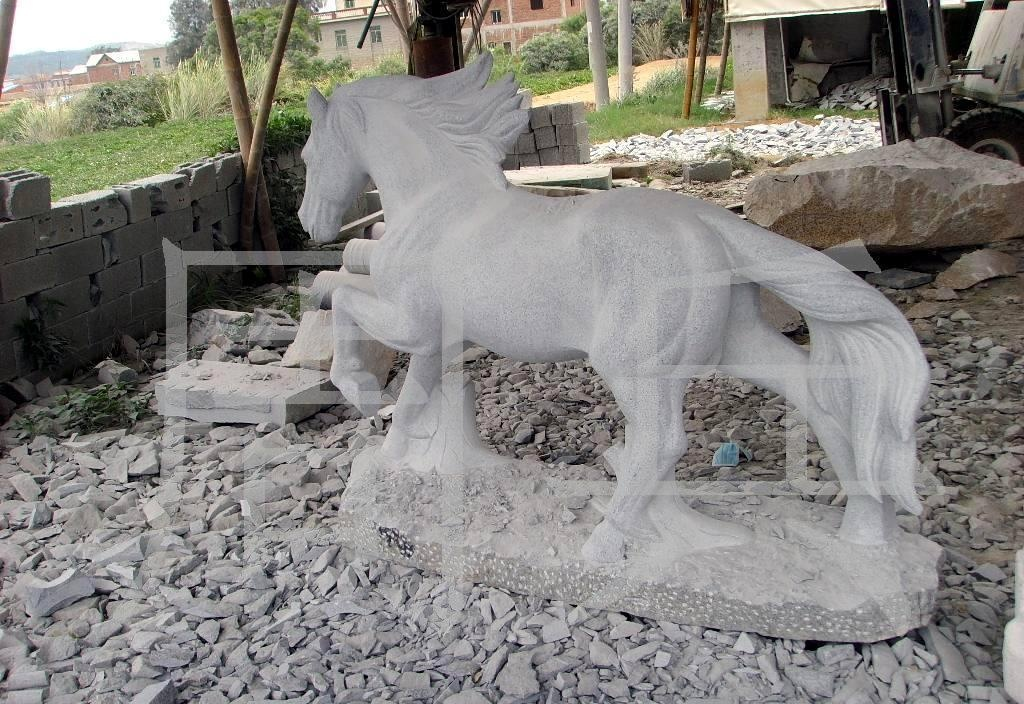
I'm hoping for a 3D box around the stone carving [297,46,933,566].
[{"bbox_3d":[0.204,-0.201,2.293,2.419,1.524,0.495,10,22,24],"label":"stone carving"}]
